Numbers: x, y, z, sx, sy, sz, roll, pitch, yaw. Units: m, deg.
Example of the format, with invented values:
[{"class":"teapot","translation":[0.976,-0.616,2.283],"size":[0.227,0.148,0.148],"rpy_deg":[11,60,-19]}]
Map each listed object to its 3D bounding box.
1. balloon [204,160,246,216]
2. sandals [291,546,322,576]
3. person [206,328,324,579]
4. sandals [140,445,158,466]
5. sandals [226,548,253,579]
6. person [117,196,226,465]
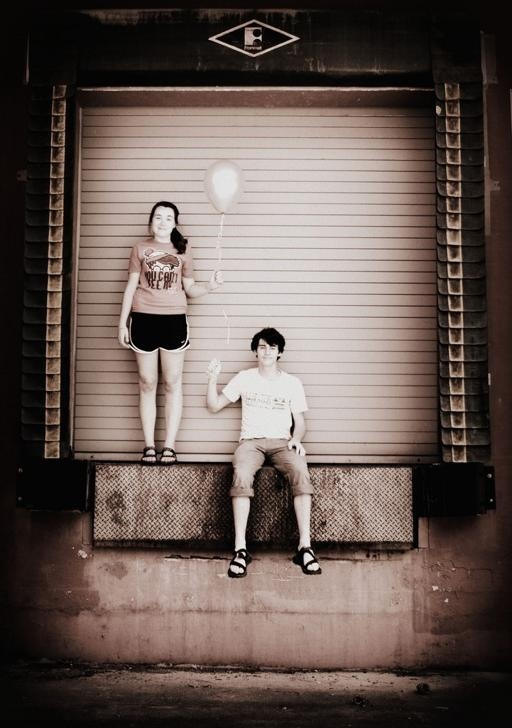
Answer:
[{"class":"balloon","translation":[-0.209,-1.108,6.345],"size":[0.206,0.308,0.237],"rpy_deg":[9,38,6]},{"class":"sandals","translation":[0.298,1.167,5.927],"size":[0.110,0.149,0.276],"rpy_deg":[-3,14,-13]},{"class":"person","translation":[0.021,0.579,6.261],"size":[0.655,1.479,1.122],"rpy_deg":[-1,12,-2]},{"class":"sandals","translation":[-0.693,0.593,6.463],"size":[0.104,0.136,0.353],"rpy_deg":[-1,14,-6]},{"class":"sandals","translation":[-0.101,1.207,5.894],"size":[0.114,0.211,0.191],"rpy_deg":[1,13,3]},{"class":"person","translation":[-0.606,-0.210,6.535],"size":[0.595,1.658,0.652],"rpy_deg":[-3,12,-14]}]
